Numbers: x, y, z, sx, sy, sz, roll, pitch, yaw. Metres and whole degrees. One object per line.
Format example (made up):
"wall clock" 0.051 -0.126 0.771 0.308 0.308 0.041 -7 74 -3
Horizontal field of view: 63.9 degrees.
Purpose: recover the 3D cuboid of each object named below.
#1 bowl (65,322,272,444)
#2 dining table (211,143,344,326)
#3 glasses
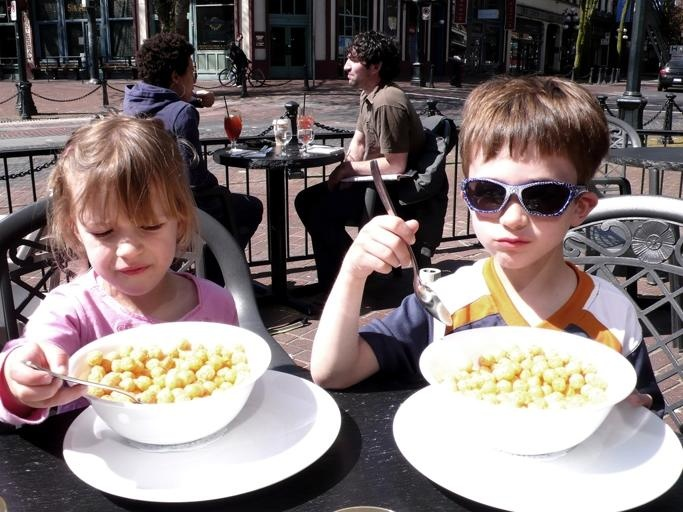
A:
"bowl" -0.363 0.258 1.195 0.281 0.102 0.278 3 15 -1
"dining table" -0.517 -0.338 4.838 0.970 1.544 0.981 -10 20 -35
"glasses" 0.480 -0.161 1.487 0.283 0.094 0.077 4 19 13
